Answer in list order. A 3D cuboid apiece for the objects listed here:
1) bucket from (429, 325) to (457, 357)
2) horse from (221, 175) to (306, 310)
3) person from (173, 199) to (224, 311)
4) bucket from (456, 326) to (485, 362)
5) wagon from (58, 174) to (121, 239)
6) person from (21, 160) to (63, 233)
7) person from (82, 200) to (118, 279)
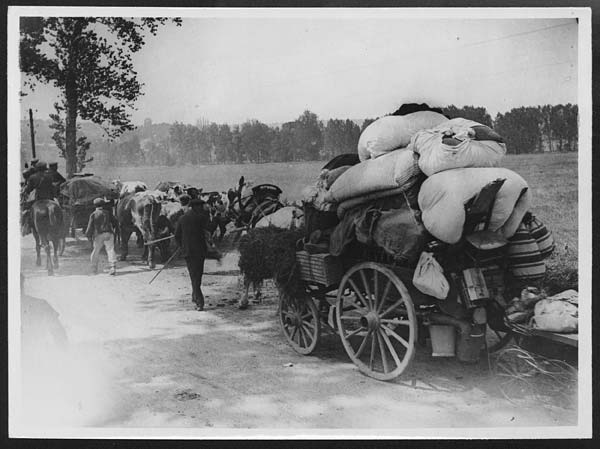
[{"bbox_3d":[1.845,1.513,8.424,0.358,0.407,0.376,0,-9,0],"label":"bucket"},{"bbox_3d":[-0.676,0.391,10.947,0.649,1.846,2.312,-7,22,0],"label":"horse"},{"bbox_3d":[-1.607,0.467,10.676,0.726,1.766,0.609,-5,6,-33],"label":"person"},{"bbox_3d":[2.208,1.534,8.415,0.348,0.476,0.256,-2,5,10],"label":"bucket"},{"bbox_3d":[-3.523,-0.319,10.844,0.968,1.044,0.461,-4,5,-20],"label":"wagon"},{"bbox_3d":[-4.262,-0.427,10.458,0.514,1.099,0.556,9,17,32],"label":"person"},{"bbox_3d":[-3.305,0.214,10.797,0.548,1.229,0.805,-4,5,-16],"label":"person"}]
